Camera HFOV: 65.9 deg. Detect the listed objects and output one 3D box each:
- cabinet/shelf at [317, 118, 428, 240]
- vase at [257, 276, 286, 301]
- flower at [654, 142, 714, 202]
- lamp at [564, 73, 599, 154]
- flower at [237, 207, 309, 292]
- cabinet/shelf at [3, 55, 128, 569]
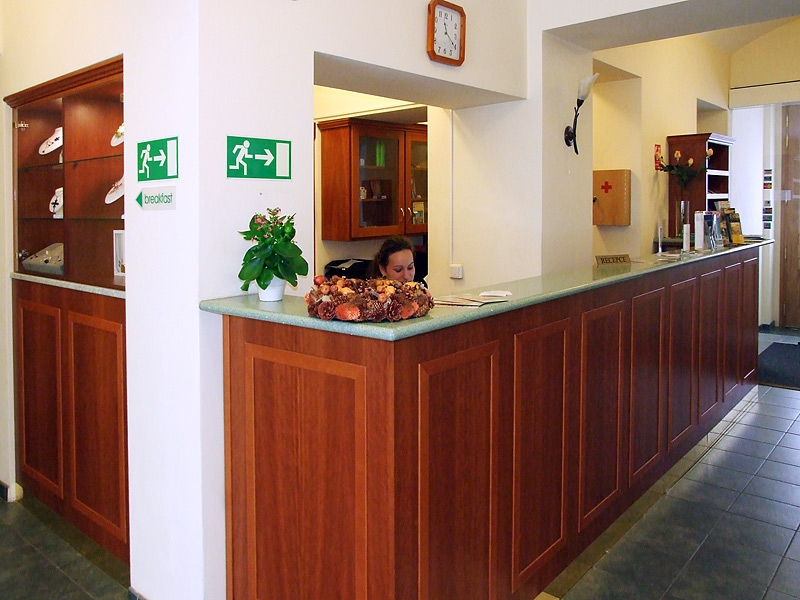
[{"bbox_3d":[-0.088,-1.185,6.206,1.214,1.192,0.448,-5,9,-35],"label":"cabinet/shelf"},{"bbox_3d":[-0.558,-0.053,2.701,0.097,0.086,0.100,1,7,14],"label":"vase"},{"bbox_3d":[3.088,-1.358,6.718,0.489,0.573,0.425,-7,7,-30],"label":"flower"},{"bbox_3d":[1.334,-1.361,4.561,0.157,0.552,0.334,11,14,22],"label":"lamp"},{"bbox_3d":[-0.542,-0.212,2.709,0.278,0.357,0.205,7,13,3],"label":"flower"},{"bbox_3d":[-1.977,-0.004,3.765,0.477,2.834,1.702,-6,18,-43],"label":"cabinet/shelf"}]
